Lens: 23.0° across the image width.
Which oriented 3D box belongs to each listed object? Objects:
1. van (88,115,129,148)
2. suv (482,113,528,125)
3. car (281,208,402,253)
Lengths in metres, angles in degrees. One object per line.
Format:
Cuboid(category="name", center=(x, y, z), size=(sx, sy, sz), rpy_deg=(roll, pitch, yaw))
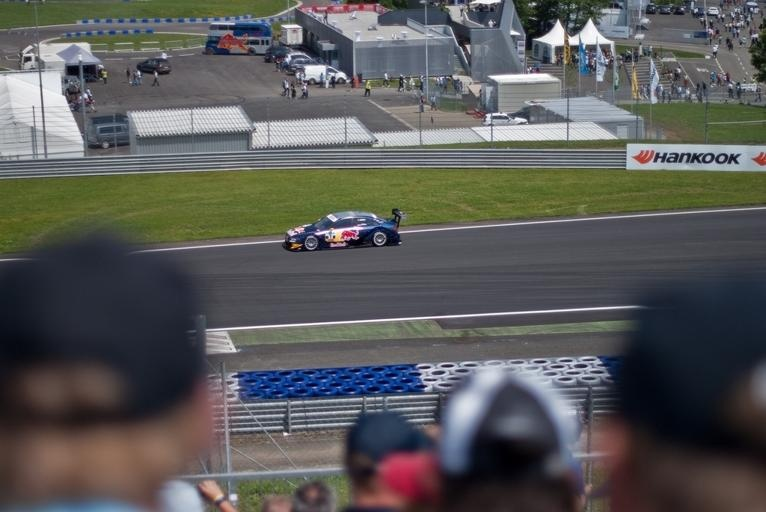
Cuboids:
Cuboid(category="van", center=(-20.834, -9.237, 141.444), size=(3.460, 1.584, 2.069), rpy_deg=(-9, 20, -21))
Cuboid(category="suv", center=(9.444, -10.194, 146.109), size=(2.913, 0.907, 1.300), rpy_deg=(-2, 17, 0))
Cuboid(category="car", center=(-2.670, -1.539, 126.622), size=(6.754, 1.713, 3.245), rpy_deg=(0, 9, -4))
